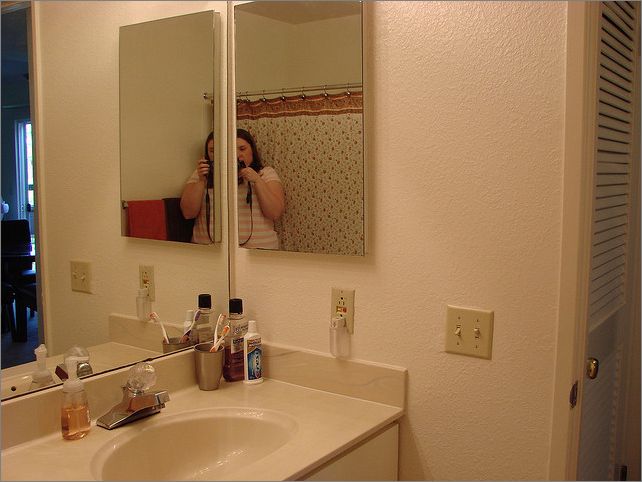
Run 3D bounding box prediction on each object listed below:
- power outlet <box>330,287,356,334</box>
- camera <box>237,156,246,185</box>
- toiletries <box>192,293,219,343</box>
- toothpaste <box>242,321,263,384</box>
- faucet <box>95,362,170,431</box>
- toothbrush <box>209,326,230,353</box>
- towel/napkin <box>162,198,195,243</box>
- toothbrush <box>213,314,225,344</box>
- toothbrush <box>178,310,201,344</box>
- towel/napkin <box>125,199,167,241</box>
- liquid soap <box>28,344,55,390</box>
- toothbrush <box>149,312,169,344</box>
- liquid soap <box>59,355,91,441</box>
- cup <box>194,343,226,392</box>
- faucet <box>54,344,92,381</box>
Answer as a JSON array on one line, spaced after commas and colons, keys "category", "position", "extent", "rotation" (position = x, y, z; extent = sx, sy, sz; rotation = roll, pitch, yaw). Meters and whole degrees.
[{"category": "power outlet", "position": [0.069, 0.226, 1.642], "extent": [0.084, 0.139, 0.018], "rotation": [7, 12, 22]}, {"category": "camera", "position": [-0.277, -0.243, 1.752], "extent": [0.015, 0.067, 0.045], "rotation": [-6, 10, -39]}, {"category": "toiletries", "position": [-0.406, 0.289, 1.771], "extent": [0.072, 0.187, 0.073], "rotation": [2, -6, -24]}, {"category": "toothpaste", "position": [-0.227, 0.375, 1.718], "extent": [0.071, 0.213, 0.049], "rotation": [-4, 12, -29]}, {"category": "faucet", "position": [-0.515, 0.438, 1.491], "extent": [0.185, 0.175, 0.171], "rotation": [13, 9, 18]}, {"category": "toothbrush", "position": [-0.332, 0.329, 1.703], "extent": [0.032, 0.138, 0.019], "rotation": [-5, -38, 32]}, {"category": "towel/napkin", "position": [-0.493, -0.074, 1.720], "extent": [0.104, 0.148, 0.107], "rotation": [-2, 0, 10]}, {"category": "toothbrush", "position": [-0.350, 0.295, 1.752], "extent": [0.031, 0.123, 0.020], "rotation": [9, -2, 7]}, {"category": "toothbrush", "position": [-0.442, 0.298, 1.717], "extent": [0.033, 0.151, 0.015], "rotation": [34, -19, -23]}, {"category": "towel/napkin", "position": [-0.559, -0.066, 1.611], "extent": [0.030, 0.118, 0.122], "rotation": [8, 7, 34]}, {"category": "liquid soap", "position": [-0.751, 0.339, 1.365], "extent": [0.058, 0.114, 0.024], "rotation": [-7, 14, -39]}, {"category": "toothbrush", "position": [-0.516, 0.272, 1.627], "extent": [0.030, 0.118, 0.019], "rotation": [-26, 4, -41]}, {"category": "liquid soap", "position": [-0.650, 0.412, 1.358], "extent": [0.076, 0.202, 0.083], "rotation": [1, 0, 42]}, {"category": "cup", "position": [-0.374, 0.429, 1.695], "extent": [0.100, 0.123, 0.108], "rotation": [-1, -7, 0]}, {"category": "faucet", "position": [-0.686, 0.345, 1.444], "extent": [0.080, 0.098, 0.080], "rotation": [6, 4, 38]}]
